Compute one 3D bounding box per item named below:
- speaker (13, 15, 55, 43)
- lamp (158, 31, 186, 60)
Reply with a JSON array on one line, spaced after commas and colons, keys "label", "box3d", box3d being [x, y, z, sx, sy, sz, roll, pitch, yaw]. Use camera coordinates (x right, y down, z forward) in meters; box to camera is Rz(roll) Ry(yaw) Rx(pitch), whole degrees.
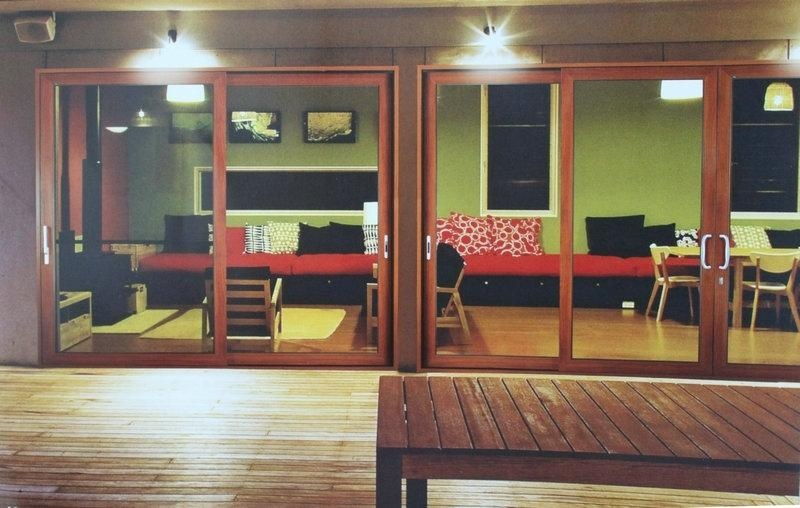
[{"label": "speaker", "box3d": [-3.348, -2.102, 6.863, 0.358, 0.275, 0.265, 1, 22, -1]}, {"label": "lamp", "box3d": [-2.141, -1.946, 6.846, 0.196, 0.277, 0.071, -1, 9, 1]}]
